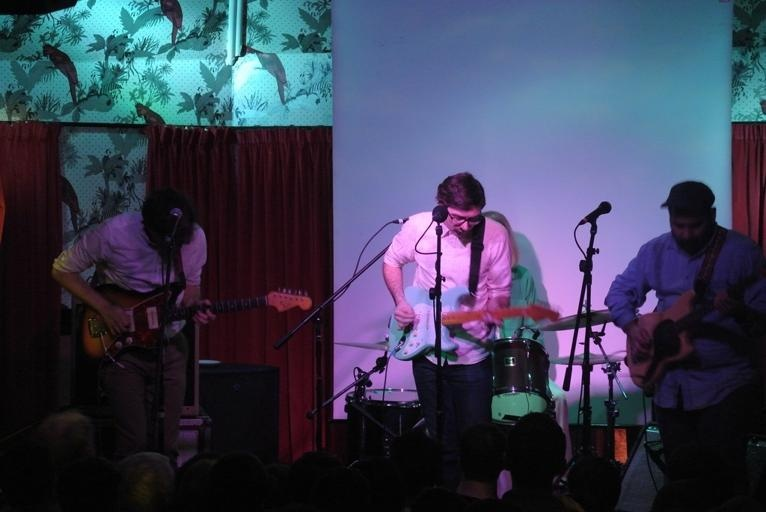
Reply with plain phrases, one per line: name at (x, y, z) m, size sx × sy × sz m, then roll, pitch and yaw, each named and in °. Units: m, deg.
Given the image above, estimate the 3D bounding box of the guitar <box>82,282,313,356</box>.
guitar at (-1.387, 0.400, 4.963) m, size 1.723 × 0.592 × 0.234 m, roll -9°, pitch 3°, yaw -17°

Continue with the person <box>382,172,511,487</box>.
person at (0.390, 0.695, 4.933) m, size 0.906 × 2.506 × 0.630 m, roll 3°, pitch 8°, yaw 17°

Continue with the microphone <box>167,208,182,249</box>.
microphone at (-1.391, -0.191, 4.640) m, size 0.105 × 0.261 × 0.177 m, roll 0°, pitch -1°, yaw -17°

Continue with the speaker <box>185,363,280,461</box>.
speaker at (-1.133, 1.212, 5.781) m, size 0.754 × 0.853 × 0.776 m, roll -1°, pitch -2°, yaw 0°

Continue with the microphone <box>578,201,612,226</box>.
microphone at (1.662, -0.331, 5.424) m, size 0.276 × 0.099 × 0.094 m, roll -35°, pitch 24°, yaw -6°

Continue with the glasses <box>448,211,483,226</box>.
glasses at (0.575, -0.250, 4.744) m, size 0.272 × 0.086 × 0.154 m, roll 0°, pitch -1°, yaw -8°

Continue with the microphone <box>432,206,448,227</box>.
microphone at (0.382, -0.270, 4.603) m, size 0.097 × 0.128 × 0.068 m, roll 0°, pitch -1°, yaw 0°

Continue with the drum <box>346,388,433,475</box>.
drum at (0.072, 1.320, 5.596) m, size 0.675 × 0.744 × 0.700 m, roll 0°, pitch -3°, yaw 4°

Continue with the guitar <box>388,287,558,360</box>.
guitar at (0.622, 0.469, 4.906) m, size 1.101 × 0.497 × 0.527 m, roll 0°, pitch -1°, yaw -23°

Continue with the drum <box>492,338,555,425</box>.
drum at (0.933, 0.887, 4.831) m, size 0.525 × 0.544 × 0.489 m, roll 4°, pitch -11°, yaw -24°
